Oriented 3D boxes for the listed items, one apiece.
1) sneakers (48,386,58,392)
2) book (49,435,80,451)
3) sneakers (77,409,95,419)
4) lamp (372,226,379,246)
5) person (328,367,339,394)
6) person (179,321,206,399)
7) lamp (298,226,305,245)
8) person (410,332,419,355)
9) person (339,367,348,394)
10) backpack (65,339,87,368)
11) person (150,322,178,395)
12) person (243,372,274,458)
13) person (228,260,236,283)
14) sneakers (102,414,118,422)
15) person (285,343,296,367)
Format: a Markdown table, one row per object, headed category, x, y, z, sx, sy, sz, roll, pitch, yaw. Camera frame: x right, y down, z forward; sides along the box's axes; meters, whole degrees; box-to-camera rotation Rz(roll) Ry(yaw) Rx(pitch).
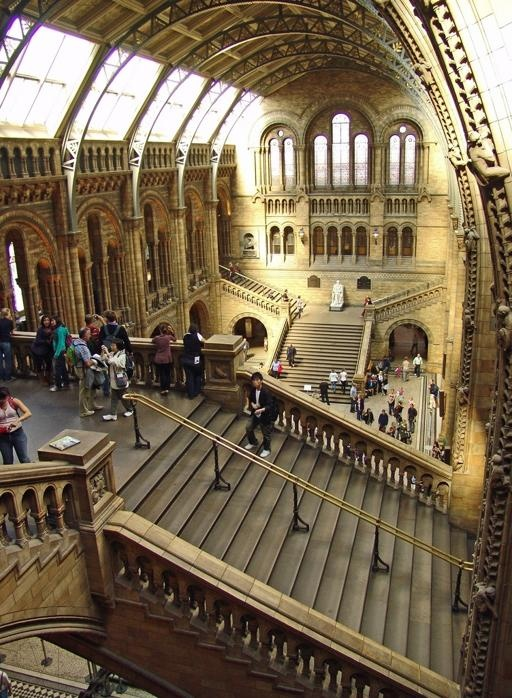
| category | x | y | z | sx | sy | sz | roll | pitch | yaw |
| --- | --- | --- | --- | --- | --- | --- | --- | --- | --- |
| sneakers | -4.151 | 0.812 | 10.070 | 0.222 | 0.097 | 0.079 | -2 | 7 | -17 |
| book | -2.120 | 1.039 | 5.475 | 0.308 | 0.052 | 0.358 | 2 | 10 | 28 |
| sneakers | -3.021 | 1.139 | 8.811 | 0.215 | 0.154 | 0.079 | -7 | 34 | -12 |
| lamp | 8.623 | -8.026 | 35.405 | 0.431 | 1.242 | 0.224 | -1 | 9 | 12 |
| person | 4.483 | 1.793 | 28.110 | 0.590 | 1.135 | 1.381 | -1 | 9 | 8 |
| person | -1.186 | 0.218 | 9.468 | 0.448 | 1.417 | 0.597 | -4 | 9 | -9 |
| lamp | 3.531 | -8.453 | 36.979 | 0.458 | 1.148 | 0.123 | -3 | 9 | 0 |
| person | 11.627 | -0.351 | 35.973 | 0.469 | 1.429 | 2.561 | 1 | 9 | 19 |
| person | 5.047 | 1.763 | 28.135 | 0.474 | 1.151 | 1.383 | -1 | 9 | 10 |
| backpack | -3.172 | 0.052 | 8.748 | 0.283 | 0.500 | 0.380 | 2 | 25 | -6 |
| person | -1.809 | 0.198 | 9.842 | 0.446 | 1.321 | 0.574 | -5 | 9 | -13 |
| person | 0.056 | 1.143 | 8.434 | 0.499 | 1.414 | 0.515 | -5 | 9 | -15 |
| person | -1.829 | -5.972 | 38.339 | 0.493 | 1.729 | 0.719 | 1 | -13 | 7 |
| sneakers | -2.572 | 1.192 | 8.694 | 0.226 | 0.106 | 0.115 | 7 | 12 | -5 |
| person | 2.241 | 0.413 | 30.401 | 0.491 | 1.236 | 1.262 | -1 | 9 | 9 |
